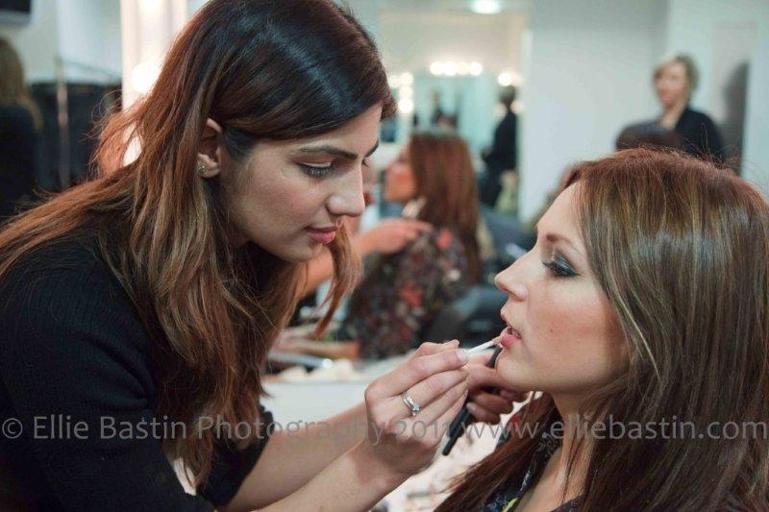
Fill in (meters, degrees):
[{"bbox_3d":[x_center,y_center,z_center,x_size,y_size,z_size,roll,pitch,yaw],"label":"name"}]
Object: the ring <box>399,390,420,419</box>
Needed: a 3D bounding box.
[{"bbox_3d":[0.051,0.284,1.615,0.016,0.042,0.037,-26,-1,-27],"label":"ring"}]
